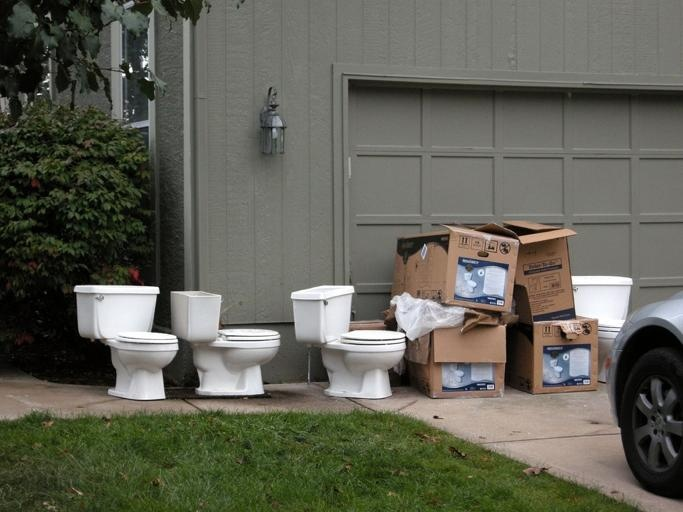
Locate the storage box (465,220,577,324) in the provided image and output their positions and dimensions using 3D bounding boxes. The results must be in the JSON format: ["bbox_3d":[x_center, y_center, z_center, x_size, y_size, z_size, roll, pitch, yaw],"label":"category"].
[{"bbox_3d":[1.786,0.041,8.265,0.757,1.106,1.160,-9,18,-11],"label":"storage box"}]

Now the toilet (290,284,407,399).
[{"bbox_3d":[0.103,0.806,7.829,0.984,1.056,0.731,-1,5,26],"label":"toilet"}]

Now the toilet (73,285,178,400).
[{"bbox_3d":[-1.921,0.778,7.540,1.002,1.056,0.706,-1,-1,39],"label":"toilet"}]

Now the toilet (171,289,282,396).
[{"bbox_3d":[-1.068,0.775,7.811,0.944,1.041,0.728,-1,12,-18],"label":"toilet"}]

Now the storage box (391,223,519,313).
[{"bbox_3d":[1.044,0.147,8.264,0.746,0.864,1.305,8,-7,-20],"label":"storage box"}]

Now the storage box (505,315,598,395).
[{"bbox_3d":[2.049,0.933,8.139,0.682,0.689,0.734,0,-4,-10],"label":"storage box"}]

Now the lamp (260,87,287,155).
[{"bbox_3d":[-0.683,-1.348,8.173,0.276,0.674,0.227,1,4,-7],"label":"lamp"}]
